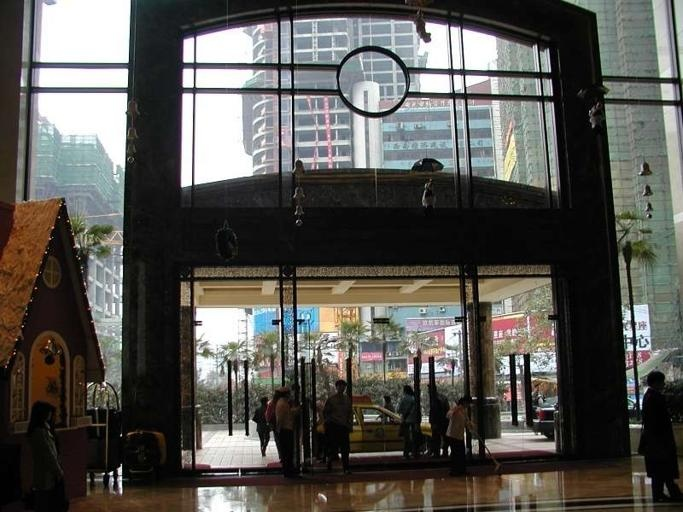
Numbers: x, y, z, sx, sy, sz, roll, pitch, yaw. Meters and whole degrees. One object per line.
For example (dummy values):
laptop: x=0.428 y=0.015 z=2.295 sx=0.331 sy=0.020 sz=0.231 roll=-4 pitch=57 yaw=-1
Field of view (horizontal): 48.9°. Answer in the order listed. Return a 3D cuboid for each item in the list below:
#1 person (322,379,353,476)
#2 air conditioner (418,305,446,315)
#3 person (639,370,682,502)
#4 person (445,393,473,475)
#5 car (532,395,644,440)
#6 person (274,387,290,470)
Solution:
person: x=-0.097 y=3.481 z=15.405 sx=0.546 sy=1.813 sz=0.334 roll=-4 pitch=-8 yaw=16
air conditioner: x=2.005 y=1.191 z=16.330 sx=0.598 sy=0.235 sz=0.165 roll=-2 pitch=-7 yaw=0
person: x=5.145 y=2.902 z=12.176 sx=0.597 sy=2.010 sz=0.505 roll=1 pitch=-8 yaw=-19
person: x=2.339 y=3.556 z=14.992 sx=0.441 sy=1.486 sz=0.959 roll=-3 pitch=-7 yaw=8
car: x=5.139 y=3.516 z=16.191 sx=2.042 sy=0.760 sz=0.923 roll=-3 pitch=-6 yaw=-3
person: x=-1.158 y=3.464 z=14.995 sx=0.277 sy=1.616 sz=0.494 roll=-1 pitch=-7 yaw=-5
